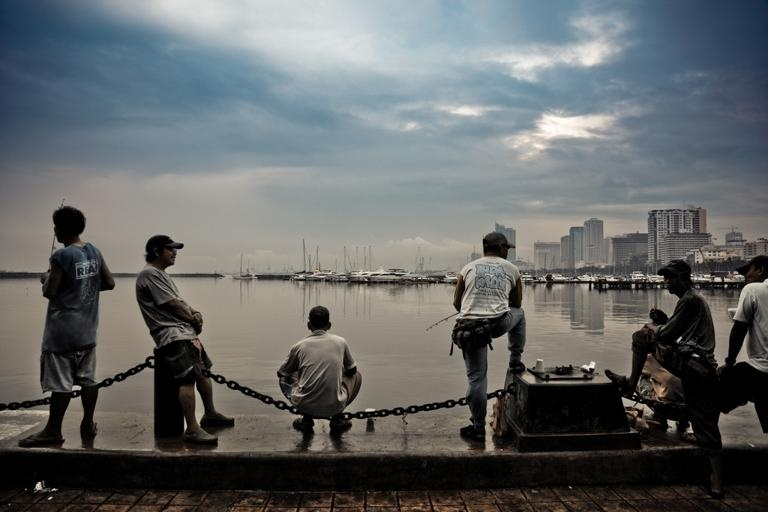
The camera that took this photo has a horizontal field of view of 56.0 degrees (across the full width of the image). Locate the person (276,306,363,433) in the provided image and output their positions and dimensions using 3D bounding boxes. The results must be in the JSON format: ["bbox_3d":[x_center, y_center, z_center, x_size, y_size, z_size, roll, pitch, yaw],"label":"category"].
[{"bbox_3d":[-0.941,1.744,10.965,1.350,1.735,1.105,2,-6,-20],"label":"person"}]

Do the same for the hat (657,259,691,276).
[{"bbox_3d":[4.125,0.155,10.277,0.393,0.189,0.271,11,-8,-2],"label":"hat"}]

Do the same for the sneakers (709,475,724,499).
[{"bbox_3d":[4.447,3.105,9.629,0.223,0.265,0.192,0,-1,5],"label":"sneakers"}]

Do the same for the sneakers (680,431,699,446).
[{"bbox_3d":[4.322,2.599,10.204,0.115,0.120,0.295,2,1,-11],"label":"sneakers"}]

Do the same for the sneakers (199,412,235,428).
[{"bbox_3d":[-2.499,2.478,10.830,0.508,0.185,0.207,0,-3,-14],"label":"sneakers"}]

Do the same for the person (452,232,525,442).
[{"bbox_3d":[1.532,1.131,10.503,1.113,3.036,0.739,1,-2,-25],"label":"person"}]

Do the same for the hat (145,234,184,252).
[{"bbox_3d":[-2.860,-0.175,9.242,0.454,0.160,0.279,-2,-3,-9],"label":"hat"}]

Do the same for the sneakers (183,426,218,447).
[{"bbox_3d":[-2.562,2.547,10.130,0.417,0.147,0.233,0,-5,20],"label":"sneakers"}]

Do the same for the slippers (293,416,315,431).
[{"bbox_3d":[-1.187,2.510,10.705,0.171,0.147,0.361,4,-3,-33],"label":"slippers"}]

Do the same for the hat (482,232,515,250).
[{"bbox_3d":[1.495,-0.216,9.577,0.480,0.258,0.302,-5,5,-19],"label":"hat"}]

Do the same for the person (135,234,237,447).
[{"bbox_3d":[-2.927,1.160,10.417,1.243,2.960,1.006,1,-2,-19],"label":"person"}]

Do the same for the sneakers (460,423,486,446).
[{"bbox_3d":[1.265,2.570,10.342,0.164,0.172,0.425,3,0,-22],"label":"sneakers"}]

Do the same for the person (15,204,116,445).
[{"bbox_3d":[-4.443,0.946,10.176,1.003,3.384,0.602,1,-2,-29],"label":"person"}]
